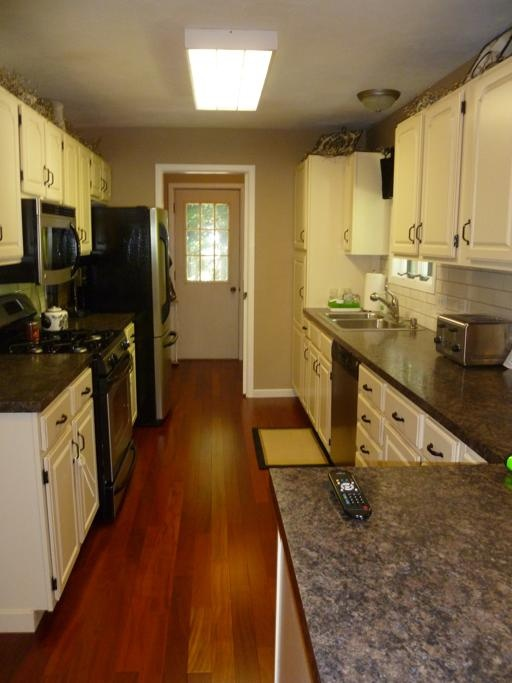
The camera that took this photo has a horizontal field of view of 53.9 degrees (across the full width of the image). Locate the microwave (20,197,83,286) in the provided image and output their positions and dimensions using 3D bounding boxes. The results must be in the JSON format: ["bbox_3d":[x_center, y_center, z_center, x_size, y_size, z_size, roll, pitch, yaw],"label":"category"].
[{"bbox_3d":[-1.040,-0.507,2.534,0.253,0.515,0.522,0,10,-4],"label":"microwave"}]

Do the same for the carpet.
[{"bbox_3d":[0.245,0.793,3.765,0.516,0.040,0.835,0,8,-5],"label":"carpet"}]

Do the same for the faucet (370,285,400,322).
[{"bbox_3d":[0.973,-0.301,3.799,0.100,0.240,0.475,-6,22,-9],"label":"faucet"}]

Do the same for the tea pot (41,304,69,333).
[{"bbox_3d":[-1.146,-0.135,2.886,0.109,0.152,0.133,1,12,-7],"label":"tea pot"}]
